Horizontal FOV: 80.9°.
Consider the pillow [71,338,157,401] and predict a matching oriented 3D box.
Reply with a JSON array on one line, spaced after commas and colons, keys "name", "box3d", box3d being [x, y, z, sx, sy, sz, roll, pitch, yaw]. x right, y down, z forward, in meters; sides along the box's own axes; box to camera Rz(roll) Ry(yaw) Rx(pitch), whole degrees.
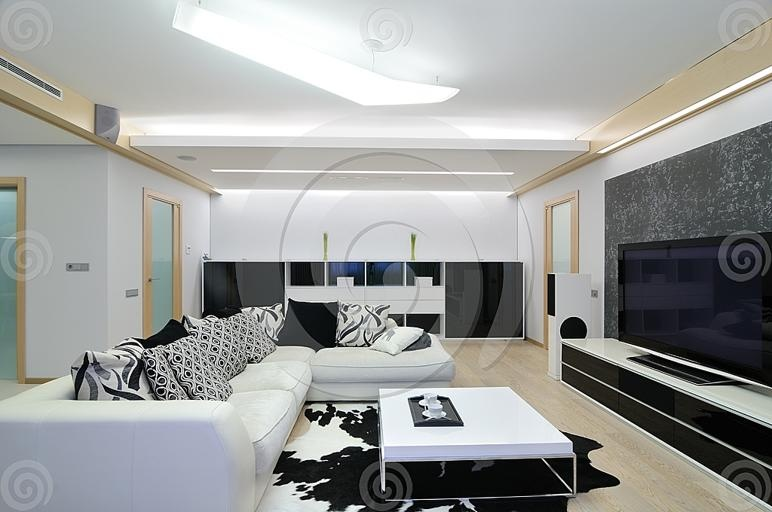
[{"name": "pillow", "box3d": [-1.893, 0.887, 3.391, 0.259, 0.432, 0.468, 9, -27, 1]}]

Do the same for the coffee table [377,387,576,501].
[{"name": "coffee table", "box3d": [0.660, 1.418, 3.537, 1.276, 0.314, 1.352, 0, 3, -5]}]

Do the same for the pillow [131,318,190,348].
[{"name": "pillow", "box3d": [-1.920, 0.670, 3.852, 0.262, 0.080, 0.269, 7, 15, -23]}]

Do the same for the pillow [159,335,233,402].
[{"name": "pillow", "box3d": [-1.570, 0.929, 3.654, 0.130, 0.498, 0.537, -37, -4, 16]}]

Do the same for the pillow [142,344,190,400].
[{"name": "pillow", "box3d": [-1.694, 0.874, 3.366, 0.103, 0.369, 0.379, -28, 1, -3]}]

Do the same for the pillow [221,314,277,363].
[{"name": "pillow", "box3d": [-1.493, 0.845, 4.759, 0.585, 0.604, 0.183, -10, -34, -18]}]

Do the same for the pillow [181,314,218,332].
[{"name": "pillow", "box3d": [-1.809, 0.629, 4.267, 0.225, 0.079, 0.197, 0, 6, -29]}]

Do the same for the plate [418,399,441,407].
[{"name": "plate", "box3d": [0.371, 1.223, 3.775, 0.130, 0.051, 0.134, 0, -4, -4]}]

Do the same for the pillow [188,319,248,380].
[{"name": "pillow", "box3d": [-1.605, 0.847, 4.234, 0.172, 0.562, 0.525, -35, -28, 12]}]

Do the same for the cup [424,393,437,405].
[{"name": "cup", "box3d": [0.368, 1.188, 3.800, 0.082, 0.061, 0.095, 3, 4, 44]}]

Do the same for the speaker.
[{"name": "speaker", "box3d": [2.337, 0.868, 5.779, 0.510, 1.286, 0.530, 2, -3, 15]}]

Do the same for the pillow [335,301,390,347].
[{"name": "pillow", "box3d": [-0.188, 0.511, 3.307, 0.386, 0.345, 0.148, 4, -3, -5]}]
